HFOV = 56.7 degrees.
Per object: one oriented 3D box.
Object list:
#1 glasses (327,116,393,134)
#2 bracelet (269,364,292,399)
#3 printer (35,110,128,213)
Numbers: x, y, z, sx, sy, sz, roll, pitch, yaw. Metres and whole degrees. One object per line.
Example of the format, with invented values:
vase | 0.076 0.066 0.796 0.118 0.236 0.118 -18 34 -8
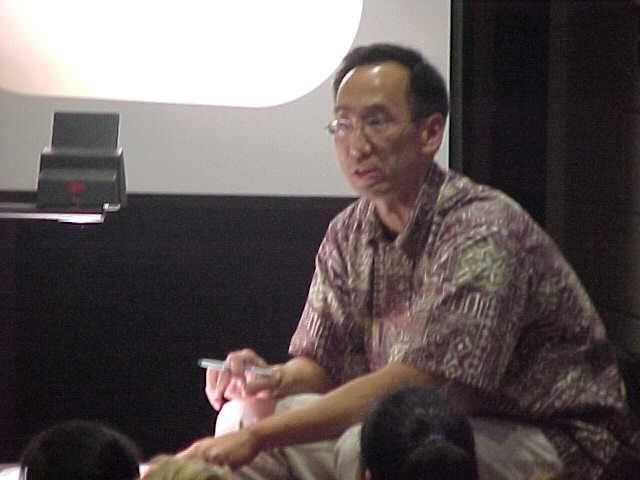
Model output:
glasses | 0.097 -0.297 1.539 0.074 0.022 0.079 -4 -8 24
bracelet | -0.101 0.351 1.471 0.021 0.061 0.042 14 -15 -21
printer | -0.424 -0.120 1.134 0.191 0.208 0.161 1 1 -3
